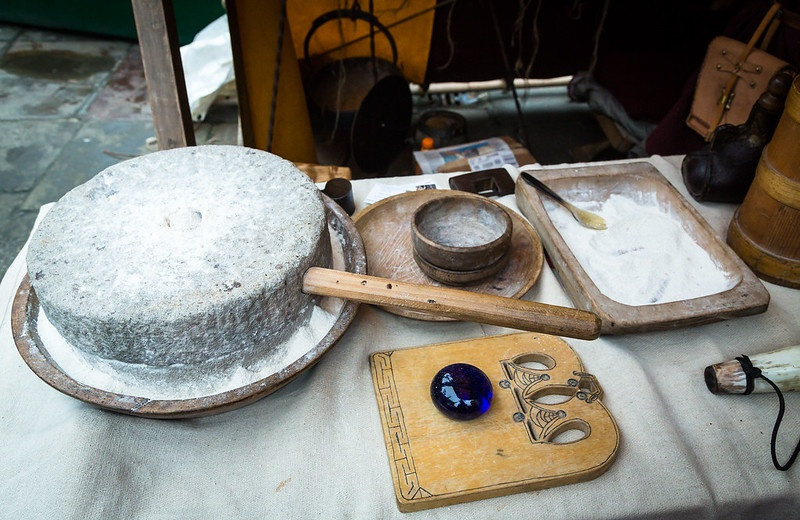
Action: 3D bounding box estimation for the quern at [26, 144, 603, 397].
[{"bbox_3d":[-0.283,0.080,1.541,1.246,0.302,0.696,10,33,5],"label":"quern"}]
